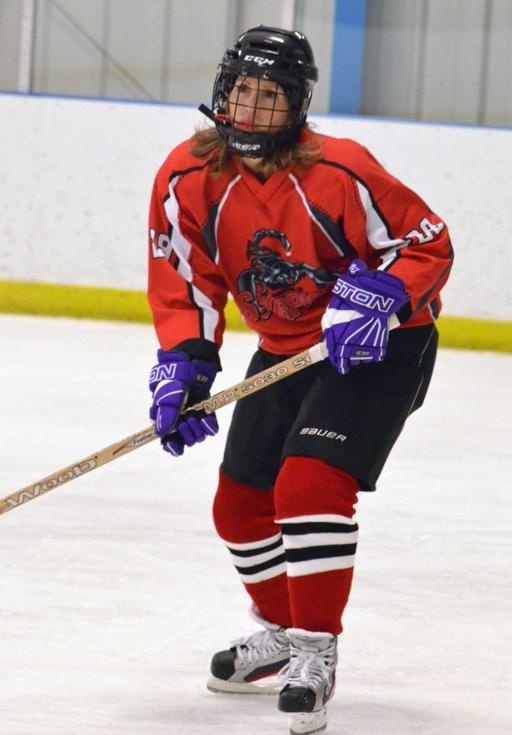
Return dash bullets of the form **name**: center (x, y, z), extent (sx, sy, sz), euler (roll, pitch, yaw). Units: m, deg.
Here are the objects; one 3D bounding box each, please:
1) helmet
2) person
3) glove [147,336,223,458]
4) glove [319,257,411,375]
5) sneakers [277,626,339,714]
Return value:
- **helmet**: center (0.018, -0.468, 1.402), extent (0.181, 0.187, 0.199), euler (13, 25, 11)
- **person**: center (0.028, -0.032, 1.390), extent (0.550, 1.054, 0.403), euler (12, 14, 41)
- **glove**: center (-0.111, 0.042, 1.435), extent (0.092, 0.164, 0.179), euler (25, 39, -13)
- **glove**: center (0.164, -0.074, 1.243), extent (0.151, 0.150, 0.072), euler (10, -2, 20)
- **sneakers**: center (0.086, 0.437, 1.222), extent (0.065, 0.067, 0.168), euler (-2, -1, 10)
